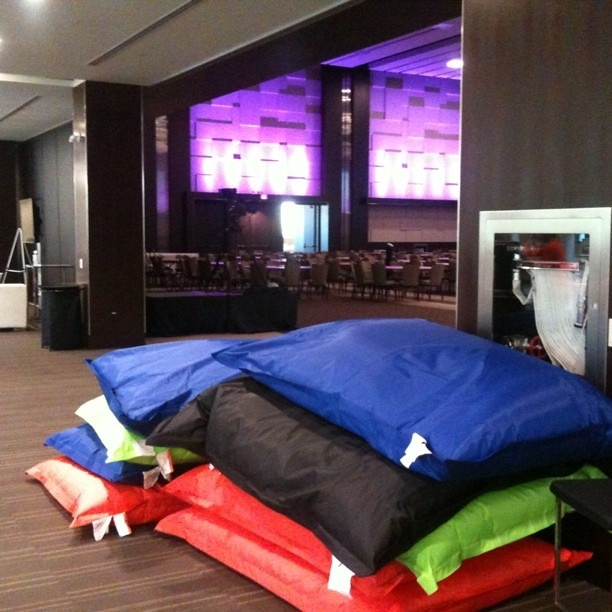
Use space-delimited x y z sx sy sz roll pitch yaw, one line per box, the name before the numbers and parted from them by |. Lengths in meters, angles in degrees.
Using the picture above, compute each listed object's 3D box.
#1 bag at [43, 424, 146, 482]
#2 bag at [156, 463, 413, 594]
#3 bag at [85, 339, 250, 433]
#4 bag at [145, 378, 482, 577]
bag | -1.003 0.668 2.516 0.228 0.097 0.350 -13 18 -41
bag | -0.123 0.748 1.880 0.394 0.161 0.546 4 3 -43
bag | -0.583 0.221 2.373 0.513 0.143 0.538 -7 11 -28
bag | -0.013 0.466 1.726 0.378 0.296 0.926 -8 10 -42
